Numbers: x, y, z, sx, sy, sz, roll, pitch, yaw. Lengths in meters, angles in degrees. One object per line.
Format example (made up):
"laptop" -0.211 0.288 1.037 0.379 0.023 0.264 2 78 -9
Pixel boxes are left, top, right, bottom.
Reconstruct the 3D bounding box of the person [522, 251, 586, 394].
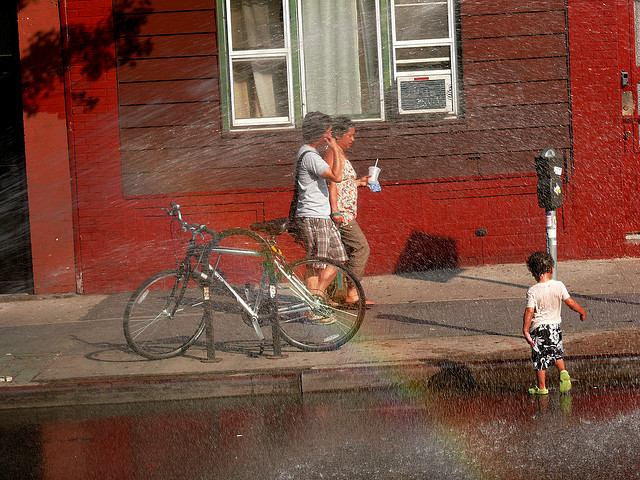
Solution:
"person" 2.137 0.755 8.447 0.508 1.275 0.555 -4 14 14

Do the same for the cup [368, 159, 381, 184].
"cup" 0.645 -0.764 10.988 0.141 0.176 0.230 -5 12 7

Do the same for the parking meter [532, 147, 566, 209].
"parking meter" 2.482 -0.654 9.952 0.278 0.643 0.347 -4 14 13
